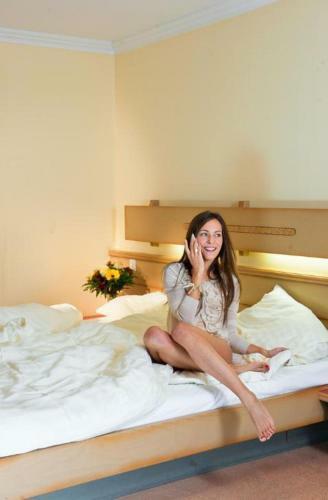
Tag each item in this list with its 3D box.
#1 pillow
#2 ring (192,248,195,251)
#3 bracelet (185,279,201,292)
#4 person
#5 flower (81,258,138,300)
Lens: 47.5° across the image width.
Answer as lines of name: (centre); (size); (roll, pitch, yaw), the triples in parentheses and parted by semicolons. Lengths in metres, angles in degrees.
pillow: (-0.237, 0.399, 2.825); (0.347, 0.112, 0.388); (-2, 1, 22)
ring: (0.139, -0.001, 1.760); (0.005, 0.012, 0.014); (-18, -5, 38)
bracelet: (0.125, 0.168, 1.703); (0.031, 0.046, 0.063); (-5, -1, -41)
person: (0.197, 0.161, 1.656); (0.708, 0.713, 0.939); (-5, 10, -20)
flower: (-0.445, 0.271, 3.218); (0.370, 0.328, 0.392); (21, 5, 7)
